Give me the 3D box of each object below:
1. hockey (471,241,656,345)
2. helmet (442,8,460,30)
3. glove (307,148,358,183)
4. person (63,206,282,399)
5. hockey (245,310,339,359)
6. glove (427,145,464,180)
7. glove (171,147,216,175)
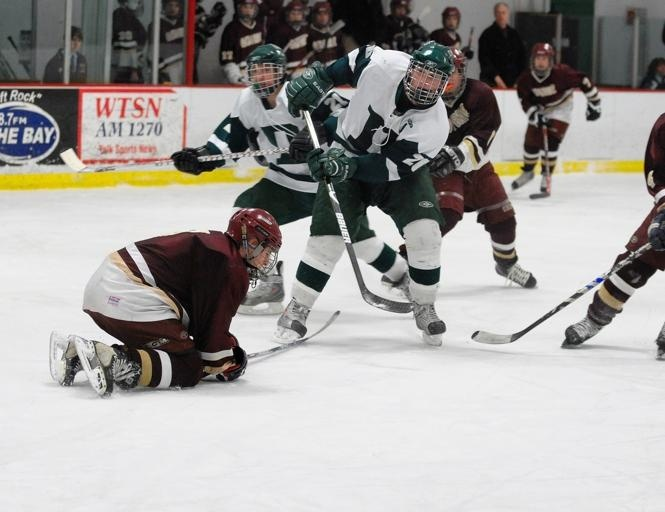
[{"bbox_3d":[1.246,0.216,4.512,0.105,0.733,0.100,56,3,35],"label":"hockey"},{"bbox_3d":[1.465,-2.949,10.331,0.262,0.316,0.198,1,-15,3],"label":"helmet"},{"bbox_3d":[-0.008,-0.401,3.699,0.176,0.146,0.223,-3,13,-23],"label":"glove"},{"bbox_3d":[-0.593,0.119,3.122,0.878,0.758,0.549,5,20,-28],"label":"person"},{"bbox_3d":[-0.189,0.371,3.851,0.077,0.052,0.719,52,31,14],"label":"hockey"},{"bbox_3d":[0.598,-0.470,4.307,0.131,0.183,0.081,49,-7,29],"label":"glove"},{"bbox_3d":[-0.706,-0.474,4.232,0.216,0.136,0.076,0,-27,-2],"label":"glove"}]
